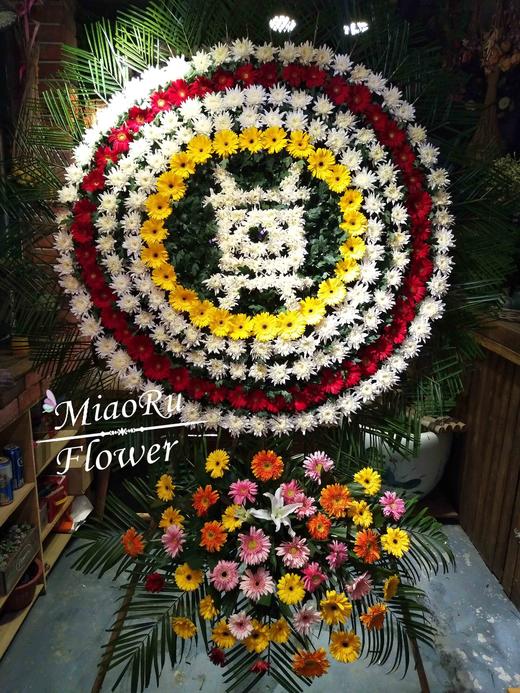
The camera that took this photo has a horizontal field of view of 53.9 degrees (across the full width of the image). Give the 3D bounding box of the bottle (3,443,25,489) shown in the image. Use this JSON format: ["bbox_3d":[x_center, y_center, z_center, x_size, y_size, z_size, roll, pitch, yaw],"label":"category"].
[{"bbox_3d":[-0.960,0.476,2.007,0.049,0.183,0.082,2,13,9],"label":"bottle"}]

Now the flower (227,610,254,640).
[{"bbox_3d":[-0.039,0.633,1.149,0.057,0.067,0.048,-5,13,-21],"label":"flower"}]

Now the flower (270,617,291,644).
[{"bbox_3d":[0.049,0.664,1.182,0.049,0.069,0.044,0,12,1],"label":"flower"}]
